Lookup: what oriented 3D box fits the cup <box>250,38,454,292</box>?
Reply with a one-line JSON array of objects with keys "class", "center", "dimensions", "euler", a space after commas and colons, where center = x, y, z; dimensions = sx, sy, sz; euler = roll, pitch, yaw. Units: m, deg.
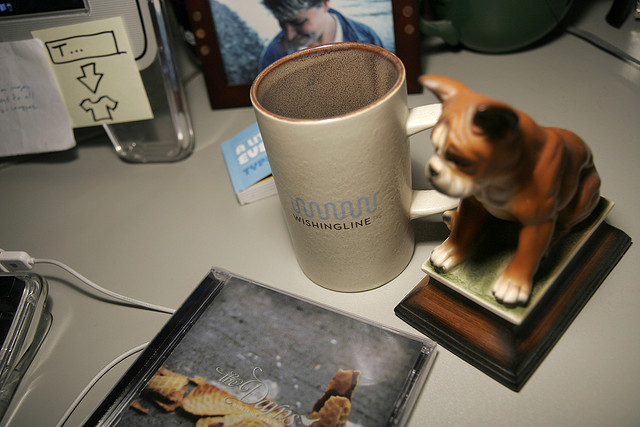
[{"class": "cup", "center": [0.075, -0.052, 0.582], "dimensions": [0.255, 0.246, 0.164], "euler": [-3, 40, 12]}]
